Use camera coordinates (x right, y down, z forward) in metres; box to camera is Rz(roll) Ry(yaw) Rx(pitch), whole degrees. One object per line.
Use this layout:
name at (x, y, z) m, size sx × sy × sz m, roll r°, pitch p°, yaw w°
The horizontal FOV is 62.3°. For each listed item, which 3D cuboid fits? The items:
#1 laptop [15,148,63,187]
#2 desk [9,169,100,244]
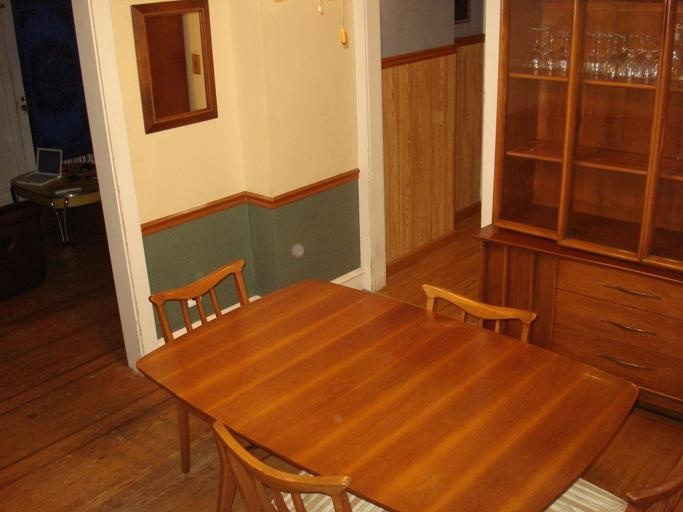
laptop at (-3.089, -0.914, 5.904) m, size 0.506 × 0.381 × 0.434 m, roll 12°, pitch 22°, yaw 25°
desk at (-2.879, -0.541, 5.892) m, size 0.969 × 0.470 × 0.694 m, roll 17°, pitch 28°, yaw 31°
